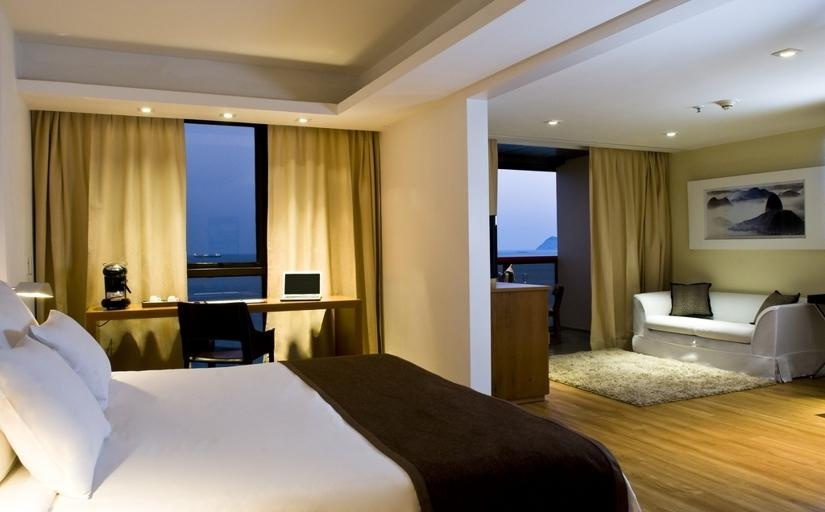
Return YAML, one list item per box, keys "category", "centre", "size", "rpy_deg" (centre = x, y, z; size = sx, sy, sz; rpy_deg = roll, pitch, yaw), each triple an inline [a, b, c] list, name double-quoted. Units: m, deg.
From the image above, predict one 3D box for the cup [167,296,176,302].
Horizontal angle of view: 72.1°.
- category: "cup"
  centre: [-2.397, 0.430, 5.679]
  size: [0.064, 0.030, 0.088]
  rpy_deg: [1, 4, -15]

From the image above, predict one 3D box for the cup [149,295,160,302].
- category: "cup"
  centre: [-2.538, 0.414, 5.619]
  size: [0.074, 0.052, 0.120]
  rpy_deg: [-1, 4, -30]

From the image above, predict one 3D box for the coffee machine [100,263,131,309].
- category: "coffee machine"
  centre: [-2.866, 0.297, 5.479]
  size: [0.283, 0.390, 0.279]
  rpy_deg: [0, 5, -31]

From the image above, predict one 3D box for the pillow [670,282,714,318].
- category: "pillow"
  centre: [3.616, 0.551, 7.406]
  size: [0.458, 0.464, 0.145]
  rpy_deg: [-5, -32, 29]

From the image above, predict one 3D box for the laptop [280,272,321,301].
- category: "laptop"
  centre: [-1.174, 0.325, 6.033]
  size: [0.407, 0.256, 0.298]
  rpy_deg: [0, -3, -6]

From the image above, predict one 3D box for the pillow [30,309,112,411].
- category: "pillow"
  centre: [-2.010, 0.575, 3.432]
  size: [0.173, 0.573, 0.555]
  rpy_deg: [-33, -10, 2]
